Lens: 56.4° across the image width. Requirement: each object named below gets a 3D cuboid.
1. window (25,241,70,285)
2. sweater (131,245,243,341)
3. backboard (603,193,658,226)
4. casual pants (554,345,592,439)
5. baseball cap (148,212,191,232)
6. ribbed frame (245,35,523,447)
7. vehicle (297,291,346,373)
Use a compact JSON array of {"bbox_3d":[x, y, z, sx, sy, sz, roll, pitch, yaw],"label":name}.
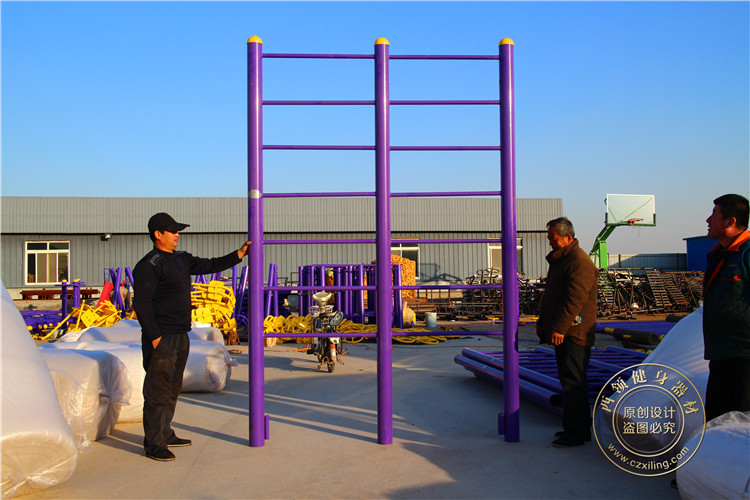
[{"bbox_3d":[-11.919,0.412,25.530,1.640,1.497,0.071,-2,1,13],"label":"window"},{"bbox_3d":[-2.369,0.637,9.095,0.733,1.229,1.873,-7,-1,31],"label":"sweater"},{"bbox_3d":[10.247,-1.588,28.113,1.771,1.279,2.880,2,6,22],"label":"backboard"},{"bbox_3d":[1.965,1.394,6.912,0.340,1.014,0.248,1,6,10],"label":"casual pants"},{"bbox_3d":[-2.029,-0.261,6.861,0.353,0.175,0.223,1,7,-6],"label":"baseball cap"},{"bbox_3d":[-0.036,0.724,11.162,4.159,5.906,0.417,-1,-4,-6],"label":"ribbed frame"},{"bbox_3d":[-0.832,1.144,10.248,0.563,0.717,1.200,-2,39,-6],"label":"vehicle"}]
